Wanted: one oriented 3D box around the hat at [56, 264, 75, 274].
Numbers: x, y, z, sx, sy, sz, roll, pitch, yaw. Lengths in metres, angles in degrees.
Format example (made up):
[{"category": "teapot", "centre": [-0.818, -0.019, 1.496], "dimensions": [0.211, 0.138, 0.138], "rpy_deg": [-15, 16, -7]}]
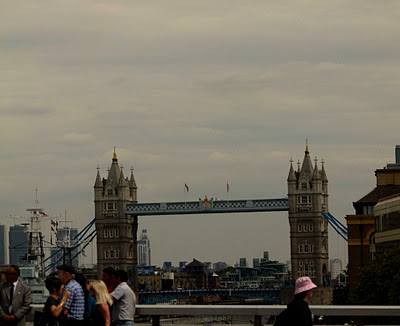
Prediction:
[{"category": "hat", "centre": [-7.946, 6.325, 86.638], "dimensions": [1.127, 0.639, 0.615], "rpy_deg": [0, -5, -19]}]
